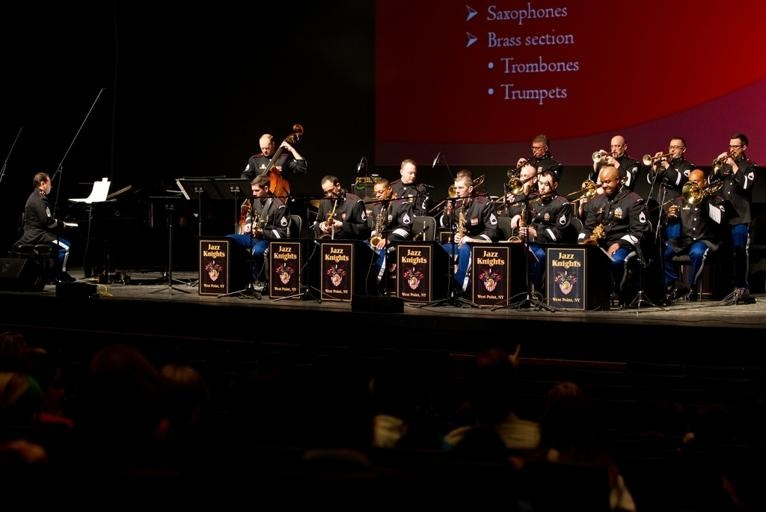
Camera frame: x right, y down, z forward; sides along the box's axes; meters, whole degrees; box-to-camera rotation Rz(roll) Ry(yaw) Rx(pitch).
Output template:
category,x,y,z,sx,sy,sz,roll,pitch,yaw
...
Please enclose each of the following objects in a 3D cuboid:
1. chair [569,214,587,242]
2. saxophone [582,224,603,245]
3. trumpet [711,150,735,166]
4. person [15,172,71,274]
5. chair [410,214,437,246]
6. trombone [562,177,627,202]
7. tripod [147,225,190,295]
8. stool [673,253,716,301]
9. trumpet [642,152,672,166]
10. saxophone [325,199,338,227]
category,x,y,z,sx,sy,sz,roll,pitch,yaw
chair,2.639,-0.391,9.392,0.271,0.276,0.335,0,-1,14
saxophone,2.752,-0.303,9.034,0.244,0.262,0.413,0,-3,41
trumpet,4.915,-1.414,9.946,0.252,0.217,0.542,22,11,22
person,-5.197,-0.527,10.585,0.801,1.697,0.831,0,2,8
chair,0.564,-0.391,9.512,0.344,0.416,0.369,0,-2,23
trombone,2.932,-0.957,9.621,0.626,0.310,0.350,-30,-6,-39
tripod,-3.071,0.007,9.831,0.823,1.023,0.809,1,-5,-21
stool,4.454,0.292,9.837,0.531,0.742,0.603,8,-10,-37
trumpet,4.175,-1.451,10.441,0.539,0.226,0.199,6,13,-34
saxophone,-0.707,-0.609,9.599,0.112,0.403,0.152,4,-23,23
